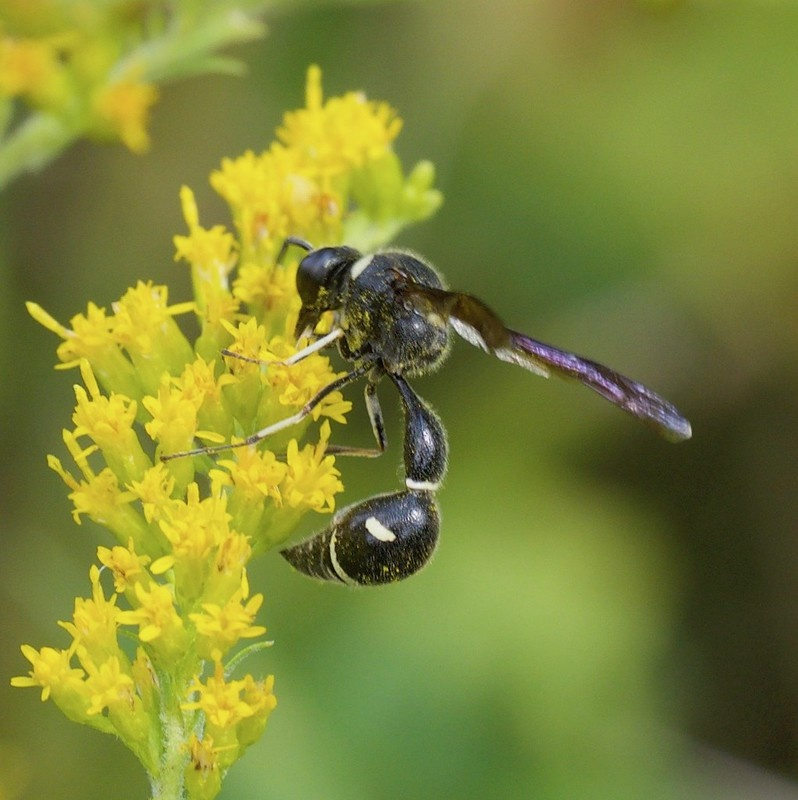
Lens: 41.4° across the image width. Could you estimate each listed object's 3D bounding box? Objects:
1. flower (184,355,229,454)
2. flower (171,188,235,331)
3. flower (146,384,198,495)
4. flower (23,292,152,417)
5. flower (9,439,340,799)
[{"bbox_3d":[-0.288,0.003,1.581,0.042,0.088,0.117,7,-78,34],"label":"flower"},{"bbox_3d":[-0.310,-0.214,1.705,0.103,0.240,0.101,-3,-17,-8],"label":"flower"},{"bbox_3d":[-0.330,0.060,1.549,0.094,0.050,0.138,-2,-80,39],"label":"flower"},{"bbox_3d":[-0.482,-0.069,1.675,0.200,0.107,0.239,-6,-25,-8],"label":"flower"},{"bbox_3d":[-0.336,0.253,1.700,0.330,0.697,0.445,-19,-27,33],"label":"flower"}]
